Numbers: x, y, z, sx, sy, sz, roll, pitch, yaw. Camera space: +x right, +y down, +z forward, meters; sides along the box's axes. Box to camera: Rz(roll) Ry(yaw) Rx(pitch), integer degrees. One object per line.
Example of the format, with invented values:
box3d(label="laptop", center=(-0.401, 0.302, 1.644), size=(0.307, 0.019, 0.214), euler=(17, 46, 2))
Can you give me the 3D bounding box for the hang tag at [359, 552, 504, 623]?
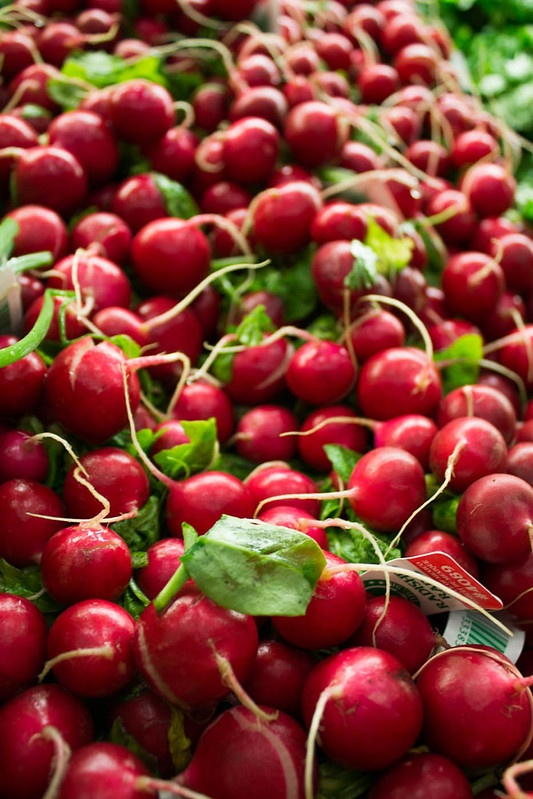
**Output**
box3d(label="hang tag", center=(0.159, 0.182, 0.662), size=(0.063, 0.112, 0.011), euler=(42, 64, -11))
